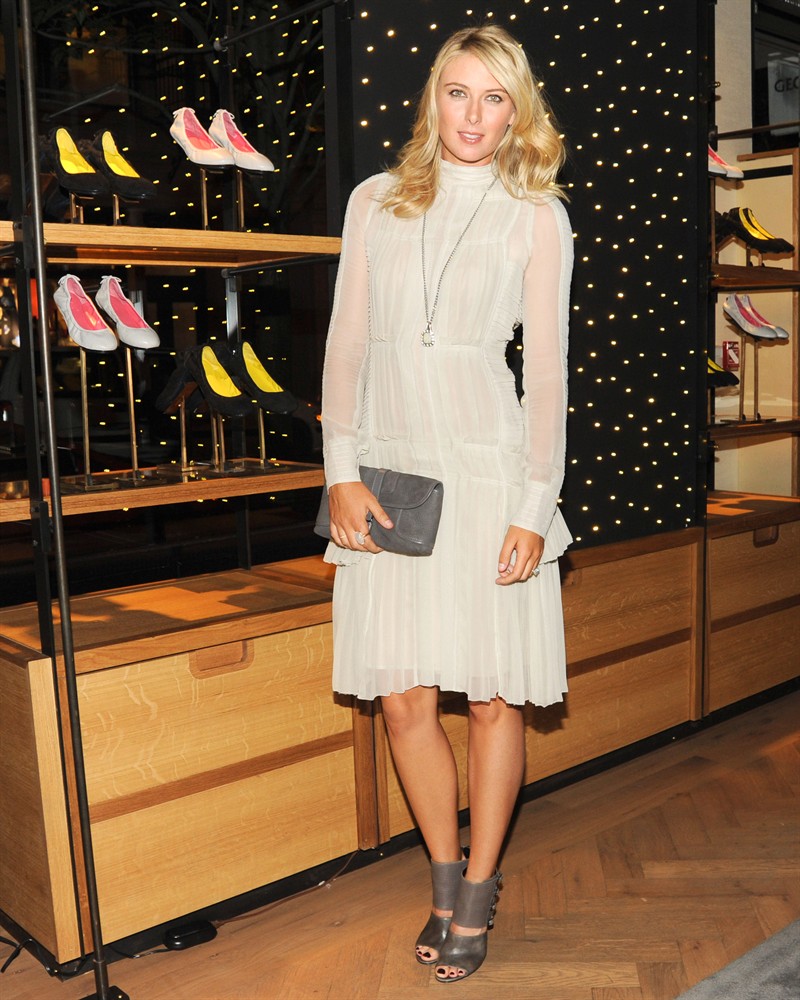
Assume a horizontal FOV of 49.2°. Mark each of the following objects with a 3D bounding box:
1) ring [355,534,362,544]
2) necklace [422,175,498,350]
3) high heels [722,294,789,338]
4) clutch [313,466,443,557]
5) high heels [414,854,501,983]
[{"bbox_3d":[-0.062,0.059,1.309,0.009,0.015,0.005,0,-1,3],"label":"ring"},{"bbox_3d":[0.068,-0.350,1.293,0.080,0.237,0.010,10,-3,4],"label":"necklace"},{"bbox_3d":[1.193,-0.613,2.929,0.192,0.165,0.097,0,3,22],"label":"high heels"},{"bbox_3d":[-0.034,0.013,1.319,0.211,0.118,0.040,9,-1,32],"label":"clutch"},{"bbox_3d":[0.099,0.675,1.430,0.084,0.092,0.233,2,6,17],"label":"high heels"}]
